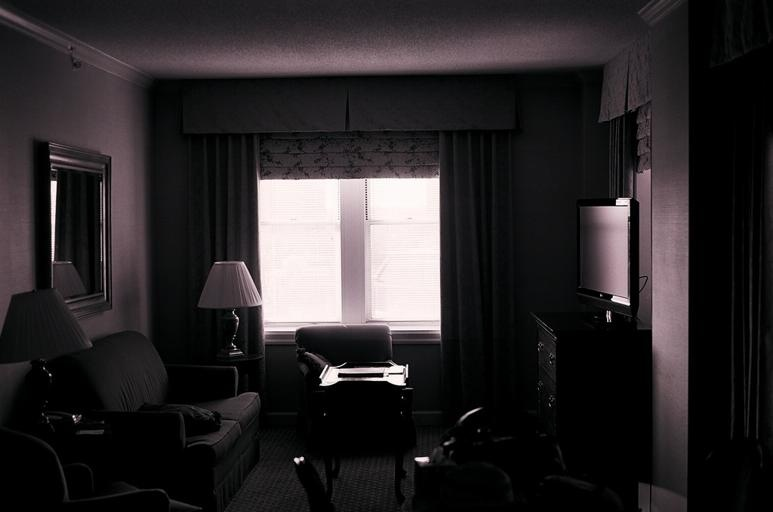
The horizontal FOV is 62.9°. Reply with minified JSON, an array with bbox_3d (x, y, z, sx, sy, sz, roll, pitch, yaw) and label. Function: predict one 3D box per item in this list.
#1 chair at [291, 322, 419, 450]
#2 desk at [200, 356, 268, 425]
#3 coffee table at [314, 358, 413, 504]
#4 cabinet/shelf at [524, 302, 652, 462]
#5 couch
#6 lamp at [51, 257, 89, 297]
[{"bbox_3d":[-0.268,1.131,5.629,0.791,0.710,1.189,-1,-6,-5],"label":"chair"},{"bbox_3d":[-1.359,1.210,6.151,0.392,0.396,0.380,9,-20,18],"label":"desk"},{"bbox_3d":[-0.189,1.460,5.295,0.781,0.969,0.805,-1,1,-6],"label":"coffee table"},{"bbox_3d":[1.621,1.022,5.619,0.983,1.408,1.468,0,-3,6],"label":"cabinet/shelf"},{"bbox_3d":[-1.735,1.262,5.101,1.255,1.155,1.676,-1,0,0],"label":"couch"},{"bbox_3d":[-2.607,0.176,5.164,0.077,0.271,0.313,-12,-13,9],"label":"lamp"}]
